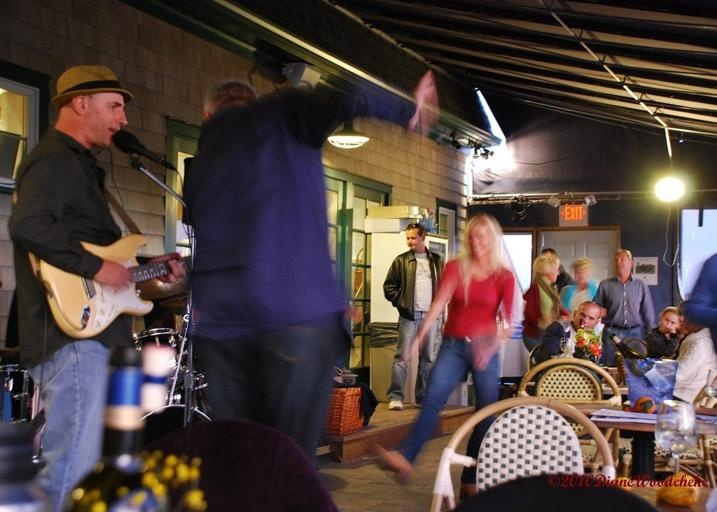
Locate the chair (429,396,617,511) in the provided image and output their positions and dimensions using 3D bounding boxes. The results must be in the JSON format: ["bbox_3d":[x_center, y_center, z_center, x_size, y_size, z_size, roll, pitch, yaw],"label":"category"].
[{"bbox_3d":[0.616,0.705,2.707,0.587,0.767,0.560,-4,-21,9],"label":"chair"}]

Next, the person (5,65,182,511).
[{"bbox_3d":[-1.325,0.056,3.046,0.549,2.030,0.671,2,-3,-19],"label":"person"}]

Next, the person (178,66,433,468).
[{"bbox_3d":[-0.306,0.058,2.444,0.708,1.347,0.191,1,-3,11],"label":"person"}]

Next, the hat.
[{"bbox_3d":[-1.367,-0.836,3.324,0.399,0.155,0.350,-17,1,-8],"label":"hat"}]

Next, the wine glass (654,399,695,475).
[{"bbox_3d":[1.100,0.629,2.295,0.135,0.240,0.178,0,-3,13],"label":"wine glass"}]

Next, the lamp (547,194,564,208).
[{"bbox_3d":[3.618,-1.033,12.550,0.230,0.235,0.420,12,9,22],"label":"lamp"}]

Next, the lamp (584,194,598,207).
[{"bbox_3d":[4.327,-1.027,12.400,0.206,0.165,0.186,-7,-5,4],"label":"lamp"}]

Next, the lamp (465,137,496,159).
[{"bbox_3d":[2.064,-1.856,11.608,0.384,0.237,0.973,0,-3,22],"label":"lamp"}]

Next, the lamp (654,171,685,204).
[{"bbox_3d":[5.545,-1.237,11.866,0.533,0.552,0.573,0,-3,25],"label":"lamp"}]
